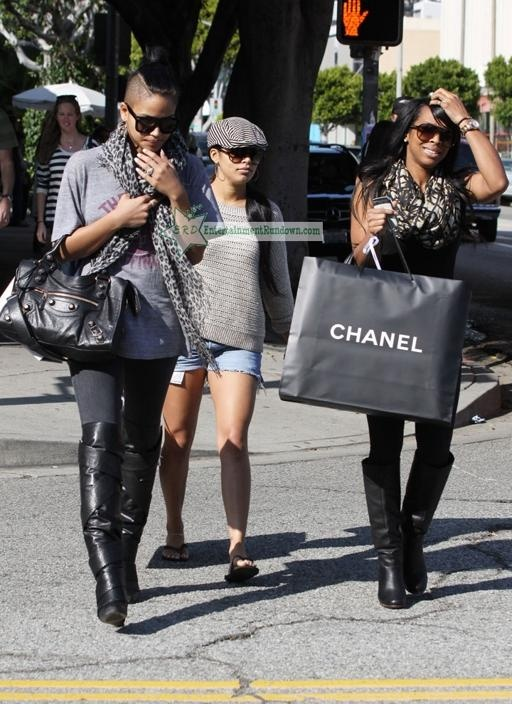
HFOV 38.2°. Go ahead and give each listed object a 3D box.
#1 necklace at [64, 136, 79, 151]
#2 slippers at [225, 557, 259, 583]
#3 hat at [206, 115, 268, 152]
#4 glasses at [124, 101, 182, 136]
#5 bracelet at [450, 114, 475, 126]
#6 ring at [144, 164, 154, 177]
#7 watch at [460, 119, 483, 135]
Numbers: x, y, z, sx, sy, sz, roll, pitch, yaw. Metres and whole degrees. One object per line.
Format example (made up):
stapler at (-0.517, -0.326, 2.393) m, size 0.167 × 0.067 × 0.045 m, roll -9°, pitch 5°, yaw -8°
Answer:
necklace at (-1.769, -1.984, 7.088) m, size 0.154 × 0.123 × 0.034 m, roll -4°, pitch -10°, yaw -10°
slippers at (-0.062, 0.865, 2.972) m, size 0.128 × 0.095 × 0.221 m, roll 1°, pitch 0°, yaw -2°
hat at (-0.105, -0.918, 3.091) m, size 0.172 × 0.088 × 0.226 m, roll -2°, pitch 3°, yaw -30°
glasses at (-0.319, -0.708, 2.250) m, size 0.151 × 0.084 × 0.073 m, roll 1°, pitch 0°, yaw -10°
bracelet at (0.698, -0.792, 2.529) m, size 0.067 × 0.017 × 0.059 m, roll -7°, pitch -1°, yaw -3°
ring at (-0.322, -0.544, 2.218) m, size 0.028 × 0.031 × 0.010 m, roll 3°, pitch -27°, yaw 1°
watch at (0.730, -0.768, 2.561) m, size 0.075 × 0.043 × 0.077 m, roll 11°, pitch 36°, yaw 41°
